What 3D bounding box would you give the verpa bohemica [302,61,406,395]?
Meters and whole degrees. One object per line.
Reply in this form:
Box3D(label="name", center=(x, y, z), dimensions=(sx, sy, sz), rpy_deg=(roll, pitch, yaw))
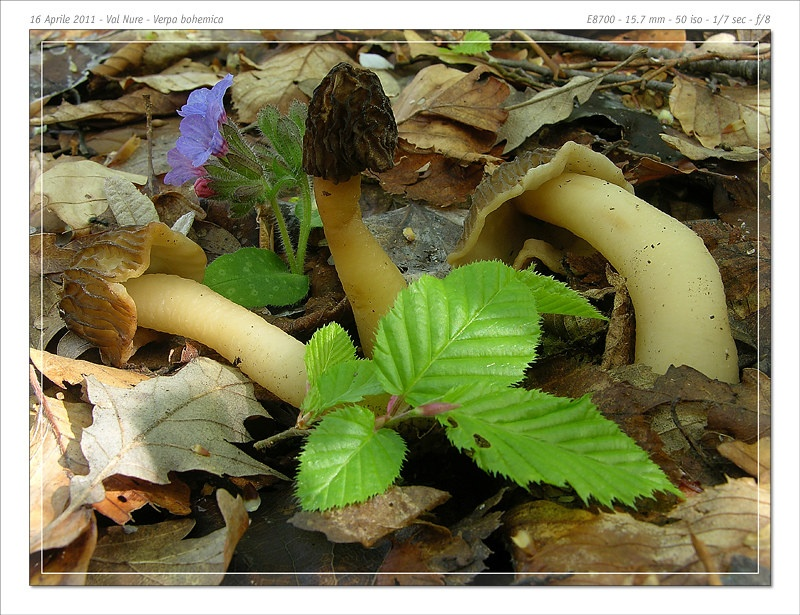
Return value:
Box3D(label="verpa bohemica", center=(-0.143, -0.285, 2.240), dimensions=(0.321, 0.961, 0.201), rpy_deg=(-1, 21, -1))
